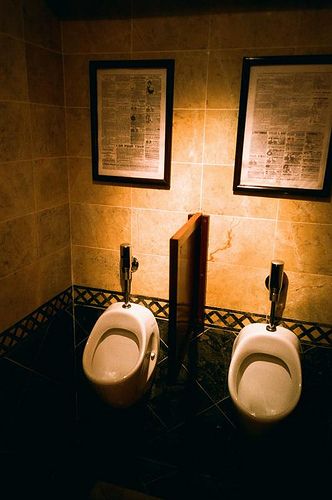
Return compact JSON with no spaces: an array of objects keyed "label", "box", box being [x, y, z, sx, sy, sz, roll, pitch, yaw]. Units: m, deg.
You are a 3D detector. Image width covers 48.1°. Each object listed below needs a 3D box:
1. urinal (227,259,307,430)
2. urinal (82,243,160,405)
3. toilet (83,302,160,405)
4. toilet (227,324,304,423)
[{"label":"urinal","box":[0.413,0.407,1.527,0.296,0.650,0.470,9,17,18]},{"label":"urinal","box":[-0.224,0.370,1.692,0.322,0.645,0.506,5,22,11]},{"label":"toilet","box":[-0.205,0.501,1.762,0.269,0.313,0.457,9,42,15]},{"label":"toilet","box":[0.438,0.599,1.652,0.266,0.342,0.400,4,41,17]}]
